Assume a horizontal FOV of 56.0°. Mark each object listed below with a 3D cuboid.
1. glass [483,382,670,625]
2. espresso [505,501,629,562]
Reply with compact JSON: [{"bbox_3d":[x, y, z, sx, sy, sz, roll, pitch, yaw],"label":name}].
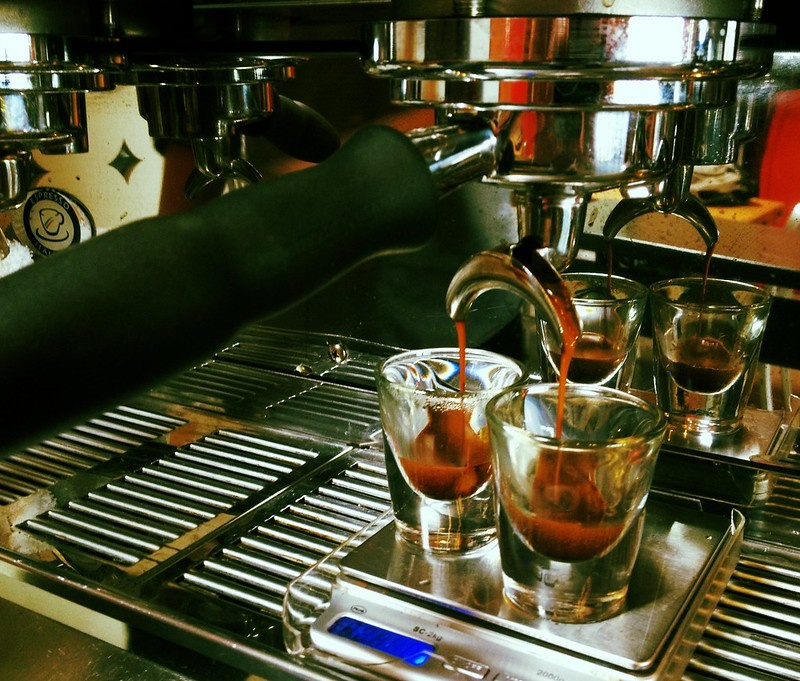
[{"bbox_3d":[0.094,0.103,0.444,0.114,0.101,0.101,2,-8,12],"label":"glass"},{"bbox_3d":[0.095,0.107,0.422,0.059,0.025,0.054,13,5,-9],"label":"espresso"}]
